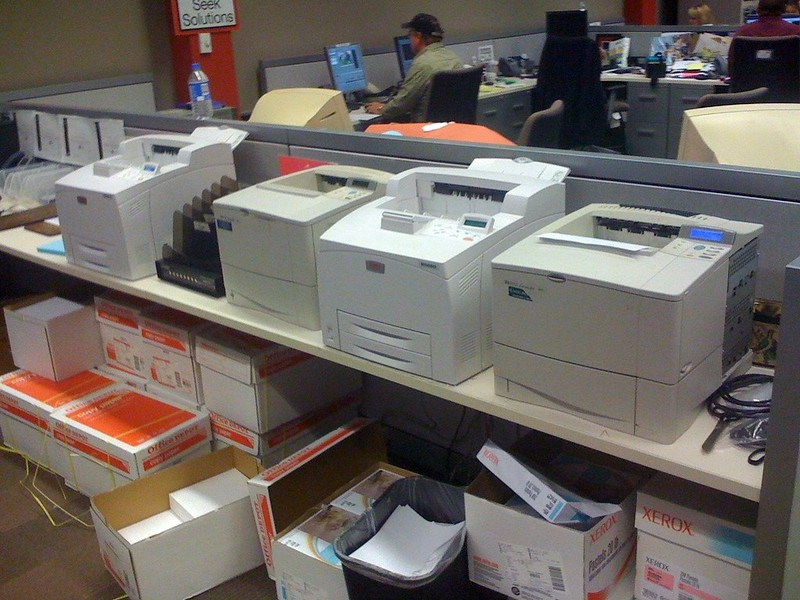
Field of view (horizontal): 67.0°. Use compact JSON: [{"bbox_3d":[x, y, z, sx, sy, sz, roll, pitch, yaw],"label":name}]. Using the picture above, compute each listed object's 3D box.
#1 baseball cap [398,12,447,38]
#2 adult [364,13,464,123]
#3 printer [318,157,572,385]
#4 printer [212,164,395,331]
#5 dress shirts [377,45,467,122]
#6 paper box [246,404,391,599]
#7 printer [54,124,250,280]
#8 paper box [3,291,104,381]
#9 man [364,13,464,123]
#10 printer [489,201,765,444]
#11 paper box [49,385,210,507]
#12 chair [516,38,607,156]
[{"bbox_3d":[0.139,-2.099,4.676,0.330,0.168,0.235,31,37,8],"label":"baseball cap"},{"bbox_3d":[0.148,-1.676,4.733,0.575,1.034,0.732,18,35,25],"label":"adult"},{"bbox_3d":[0.136,-0.133,1.741,0.504,0.511,0.689,16,29,36],"label":"printer"},{"bbox_3d":[-0.265,-0.213,1.954,0.489,0.426,0.532,17,33,33],"label":"printer"},{"bbox_3d":[0.143,-1.608,4.484,0.604,0.530,0.279,-20,29,-35],"label":"dress shirts"},{"bbox_3d":[-0.274,0.643,1.879,0.472,0.407,0.153,-32,38,-33],"label":"paper box"},{"bbox_3d":[-0.943,-0.378,2.362,0.409,0.459,0.679,17,27,30],"label":"printer"},{"bbox_3d":[-1.529,0.169,2.645,0.338,0.250,0.183,10,24,38],"label":"paper box"},{"bbox_3d":[0.146,-1.666,4.747,0.591,1.038,0.740,18,32,26],"label":"man"},{"bbox_3d":[0.511,-0.011,1.428,0.517,0.440,0.532,15,26,41],"label":"printer"},{"bbox_3d":[-1.091,0.581,2.394,0.603,0.287,0.345,9,20,30],"label":"paper box"},{"bbox_3d":[1.328,-1.662,4.862,0.627,0.946,0.569,2,8,-7],"label":"chair"}]
